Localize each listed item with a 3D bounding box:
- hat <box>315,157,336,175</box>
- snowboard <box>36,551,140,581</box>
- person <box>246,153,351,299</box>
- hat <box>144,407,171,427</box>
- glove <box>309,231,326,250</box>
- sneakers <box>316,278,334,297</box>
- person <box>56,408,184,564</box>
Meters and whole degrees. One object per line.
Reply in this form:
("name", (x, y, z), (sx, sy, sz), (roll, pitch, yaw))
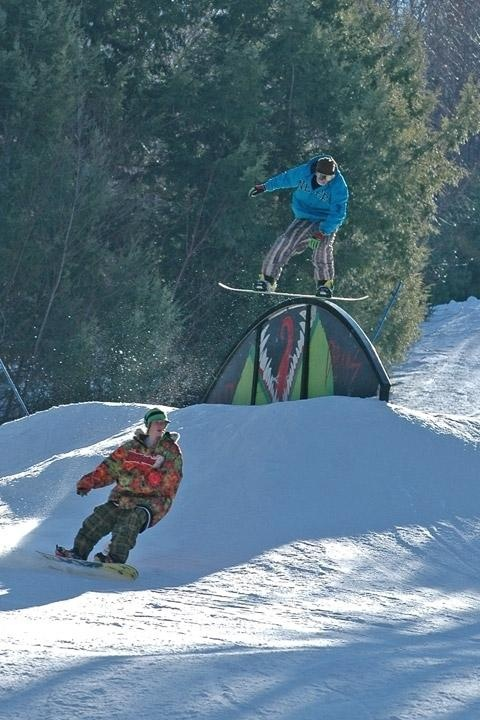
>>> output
("hat", (0.856, -1.836, 10.087), (0.152, 0.164, 0.201), (-3, 27, -11))
("snowboard", (-0.915, 1.246, 6.473), (0.671, 0.190, 0.097), (9, 47, 21))
("person", (0.689, -1.329, 10.546), (0.665, 1.384, 1.099), (-1, 5, -30))
("hat", (-0.531, 0.366, 6.807), (0.110, 0.125, 0.146), (-1, -24, -34))
("glove", (0.781, -1.151, 10.228), (0.121, 0.170, 0.063), (29, 0, 43))
("sneakers", (0.884, -0.717, 10.650), (0.140, 0.183, 0.183), (-2, -5, 5))
("person", (-0.727, 0.838, 6.743), (0.586, 1.144, 0.531), (14, -23, 7))
